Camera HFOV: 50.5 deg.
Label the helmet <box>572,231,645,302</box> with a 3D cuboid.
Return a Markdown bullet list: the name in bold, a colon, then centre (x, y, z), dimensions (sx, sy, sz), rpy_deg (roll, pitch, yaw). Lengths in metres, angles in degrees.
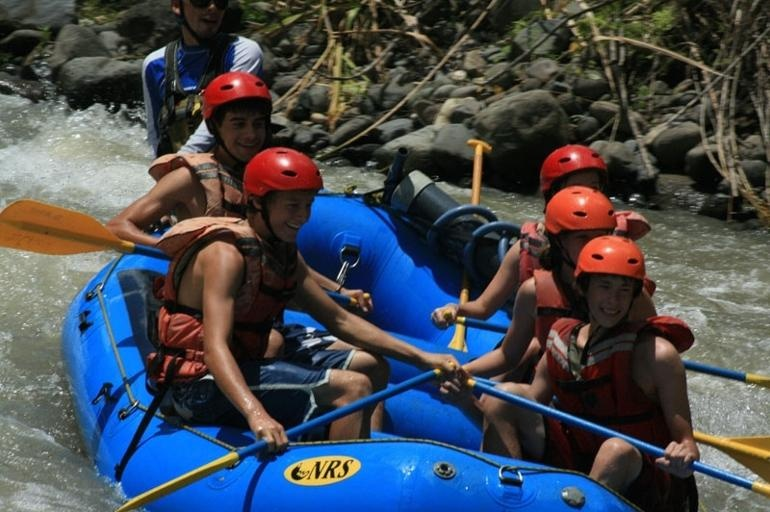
- **helmet**: centre (1.265, 0.060, 4.408), dimensions (0.406, 0.341, 0.507), rpy_deg (4, 18, 34)

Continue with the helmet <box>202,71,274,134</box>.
- **helmet**: centre (-0.951, -0.980, 5.180), dimensions (0.425, 0.356, 0.524), rpy_deg (-8, 11, -25)

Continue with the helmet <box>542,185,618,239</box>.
- **helmet**: centre (1.216, -0.245, 4.809), dimensions (0.411, 0.340, 0.461), rpy_deg (-9, 16, -15)

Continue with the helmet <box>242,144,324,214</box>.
- **helmet**: centre (-0.588, -0.436, 4.584), dimensions (0.437, 0.291, 0.317), rpy_deg (9, 13, 38)

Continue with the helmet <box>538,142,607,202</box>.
- **helmet**: centre (1.329, -0.489, 5.315), dimensions (0.349, 0.401, 0.328), rpy_deg (-5, 55, 5)
